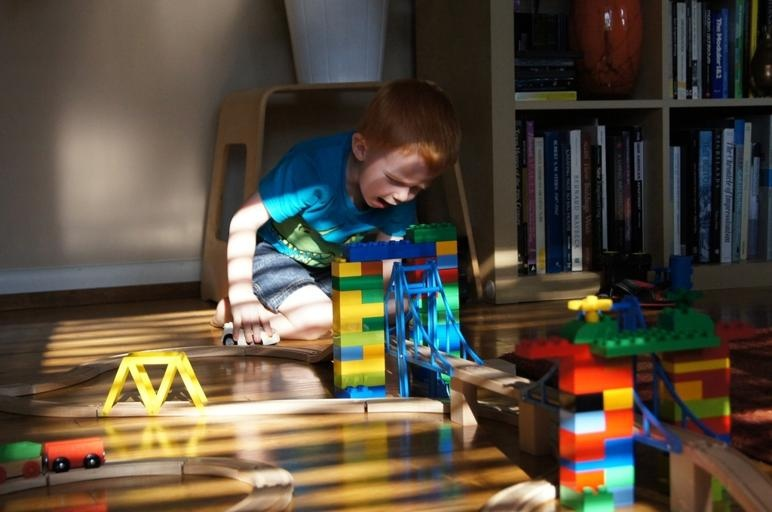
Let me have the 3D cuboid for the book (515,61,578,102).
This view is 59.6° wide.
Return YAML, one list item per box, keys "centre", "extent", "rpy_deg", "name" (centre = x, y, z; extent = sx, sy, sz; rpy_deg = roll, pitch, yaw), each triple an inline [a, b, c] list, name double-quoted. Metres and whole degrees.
- centre: [0.463, -0.512, 1.961]
  extent: [0.179, 0.086, 0.129]
  rpy_deg: [-1, 5, -10]
  name: "book"

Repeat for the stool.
- centre: [-0.175, -0.347, 2.190]
  extent: [0.912, 0.782, 0.687]
  rpy_deg: [-2, 2, -18]
  name: "stool"

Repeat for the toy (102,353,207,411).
- centre: [-0.386, 0.211, 1.129]
  extent: [0.172, 0.094, 0.052]
  rpy_deg: [-4, 4, 5]
  name: "toy"

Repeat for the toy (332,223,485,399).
- centre: [0.006, 0.106, 1.259]
  extent: [0.223, 0.312, 0.327]
  rpy_deg: [-1, 3, -19]
  name: "toy"
